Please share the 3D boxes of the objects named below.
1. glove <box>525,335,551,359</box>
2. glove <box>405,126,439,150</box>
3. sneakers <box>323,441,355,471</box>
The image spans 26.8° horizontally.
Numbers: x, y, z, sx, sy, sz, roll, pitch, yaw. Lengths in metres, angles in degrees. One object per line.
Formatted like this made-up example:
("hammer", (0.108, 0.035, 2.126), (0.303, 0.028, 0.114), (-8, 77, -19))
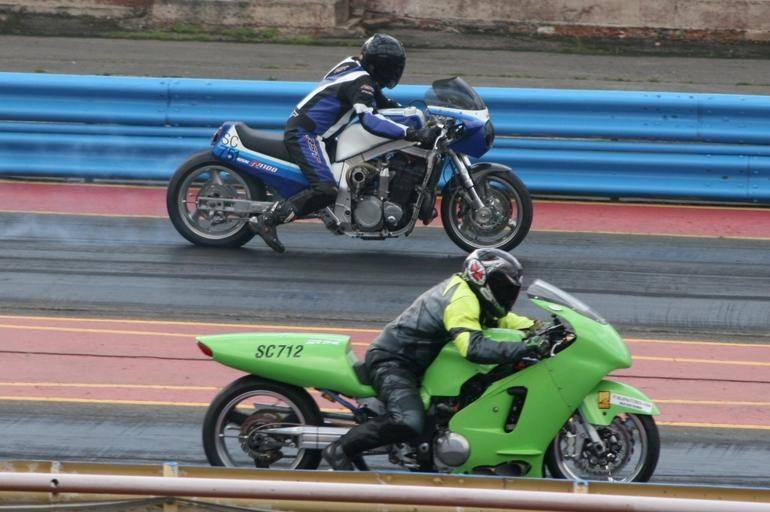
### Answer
("glove", (1.868, 1.109, 20.161), (0.315, 0.291, 0.106), (3, -8, 0))
("glove", (0.531, -1.798, 24.200), (0.518, 0.292, 0.199), (2, -7, 0))
("sneakers", (-0.595, 2.484, 20.128), (0.349, 0.194, 0.420), (-14, -36, -4))
